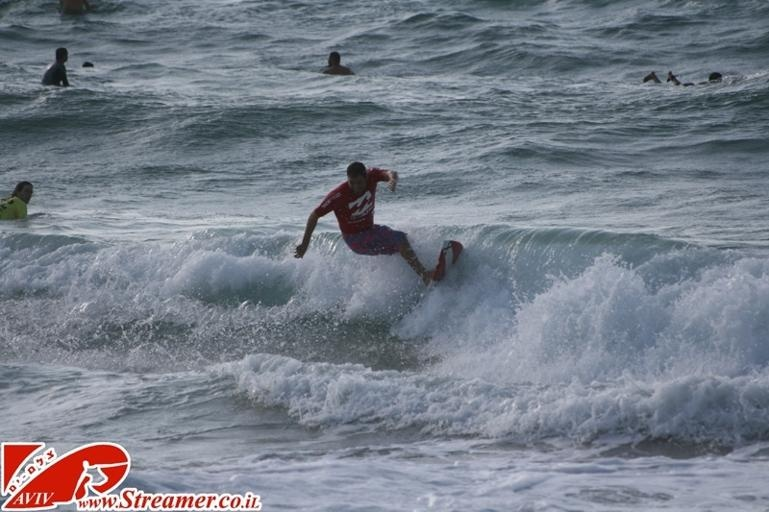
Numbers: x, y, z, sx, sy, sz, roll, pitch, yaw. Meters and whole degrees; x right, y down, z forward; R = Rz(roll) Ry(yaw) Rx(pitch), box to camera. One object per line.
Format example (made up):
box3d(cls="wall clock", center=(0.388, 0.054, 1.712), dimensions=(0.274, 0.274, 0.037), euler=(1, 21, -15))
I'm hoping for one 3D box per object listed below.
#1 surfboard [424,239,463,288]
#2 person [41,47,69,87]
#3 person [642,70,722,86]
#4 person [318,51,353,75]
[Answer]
box3d(cls="surfboard", center=(1.041, 0.155, 23.879), dimensions=(0.374, 1.005, 0.172), euler=(26, 27, -17))
box3d(cls="person", center=(-8.028, -4.598, 32.935), dimensions=(0.500, 1.029, 0.726), euler=(-8, 27, -36))
box3d(cls="person", center=(7.358, -4.354, 33.267), dimensions=(1.372, 0.273, 0.491), euler=(-6, 31, -12))
box3d(cls="person", center=(-1.321, -5.010, 35.361), dimensions=(1.138, 0.660, 0.502), euler=(-6, 24, -2))
